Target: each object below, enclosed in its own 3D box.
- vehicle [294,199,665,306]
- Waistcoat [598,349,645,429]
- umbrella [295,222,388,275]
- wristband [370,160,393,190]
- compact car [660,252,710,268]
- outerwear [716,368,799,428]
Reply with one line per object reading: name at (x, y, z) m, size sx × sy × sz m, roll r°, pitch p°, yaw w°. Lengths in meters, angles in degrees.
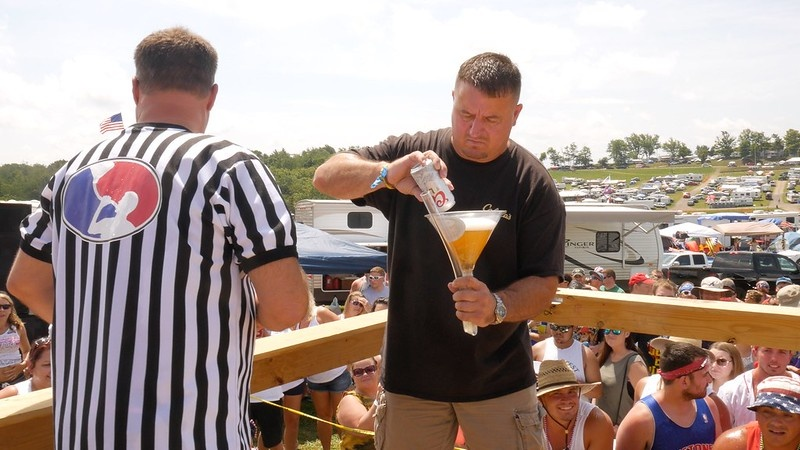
vehicle at (3.851, 0.298, 22.173) m, size 8.055 × 2.408 × 5.447 m, roll 0°, pitch 4°, yaw -4°
Waistcoat at (2.725, 2.002, 8.141) m, size 0.454 × 0.840 × 0.679 m, roll 4°, pitch 5°, yaw -23°
umbrella at (-1.868, 0.665, 16.853) m, size 1.830 × 0.725 × 1.781 m, roll 12°, pitch 2°, yaw 17°
wristband at (-0.129, -0.353, 4.352) m, size 0.063 × 0.183 × 0.135 m, roll 4°, pitch 40°, yaw -14°
compact car at (12.014, 1.403, 27.243) m, size 1.226 × 0.495 × 0.677 m, roll -4°, pitch 4°, yaw 6°
outerwear at (3.442, 1.673, 6.189) m, size 0.784 × 0.687 × 0.408 m, roll 0°, pitch -6°, yaw -3°
